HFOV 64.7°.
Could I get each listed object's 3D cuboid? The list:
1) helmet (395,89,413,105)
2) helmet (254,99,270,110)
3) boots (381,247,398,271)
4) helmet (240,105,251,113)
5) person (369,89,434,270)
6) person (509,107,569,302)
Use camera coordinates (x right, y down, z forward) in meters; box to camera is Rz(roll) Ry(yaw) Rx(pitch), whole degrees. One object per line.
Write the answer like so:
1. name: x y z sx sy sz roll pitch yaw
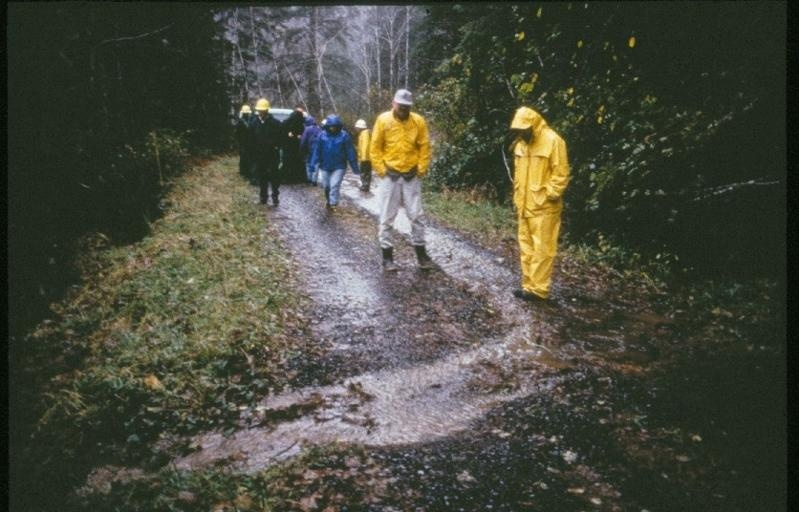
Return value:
1. helmet: 0.043 -1.946 7.972 0.224 0.186 0.138 -2 19 -9
2. helmet: -1.703 -1.824 7.837 0.114 0.089 0.149 8 39 7
3. boots: -0.135 0.077 8.238 0.183 0.253 0.239 -1 19 -8
4. helmet: -1.923 -1.776 7.893 0.133 0.120 0.151 -6 20 -21
5. person: 0.022 -0.982 8.260 0.798 2.198 0.726 0 18 -3
6. person: 1.674 -0.606 7.797 0.730 2.229 0.619 6 19 15
